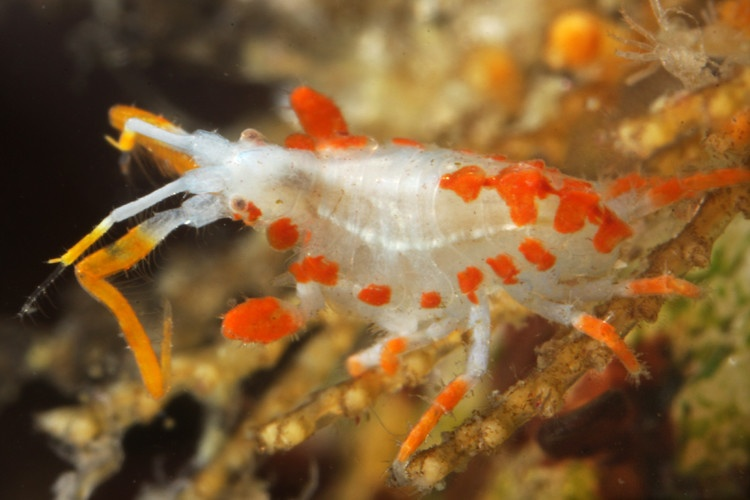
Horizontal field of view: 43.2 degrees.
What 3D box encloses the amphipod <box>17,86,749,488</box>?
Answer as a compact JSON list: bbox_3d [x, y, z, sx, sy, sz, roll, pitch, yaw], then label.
[{"bbox_3d":[0.098,-0.065,4.035,3.021,1.606,0.968,13,-9,13],"label":"amphipod"}]
